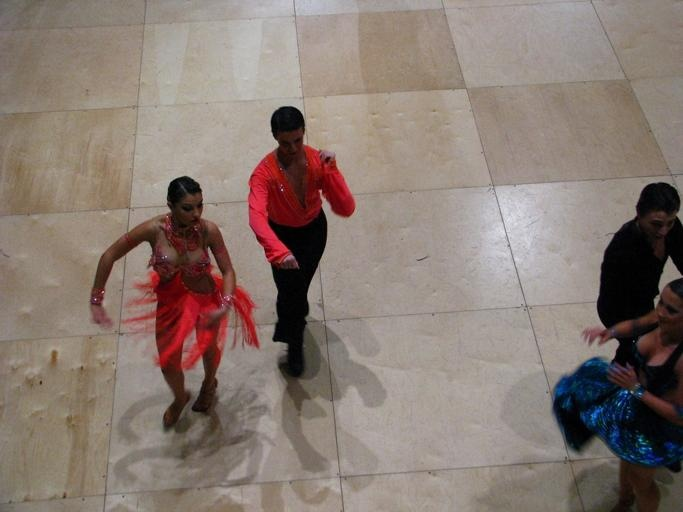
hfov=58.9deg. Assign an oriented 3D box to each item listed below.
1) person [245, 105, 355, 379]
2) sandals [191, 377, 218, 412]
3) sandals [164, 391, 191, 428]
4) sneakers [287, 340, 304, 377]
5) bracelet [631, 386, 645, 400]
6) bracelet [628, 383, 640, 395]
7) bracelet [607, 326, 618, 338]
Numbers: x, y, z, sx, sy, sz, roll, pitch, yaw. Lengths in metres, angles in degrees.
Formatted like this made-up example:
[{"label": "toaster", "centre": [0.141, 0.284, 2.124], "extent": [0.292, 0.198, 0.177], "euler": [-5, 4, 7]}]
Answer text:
[{"label": "person", "centre": [-0.321, -0.103, 4.128], "extent": [0.554, 1.550, 0.975], "euler": [26, 62, 25]}, {"label": "sandals", "centre": [-0.962, 1.005, 4.282], "extent": [0.092, 0.119, 0.310], "euler": [11, 51, 4]}, {"label": "sandals", "centre": [-1.175, 1.043, 4.271], "extent": [0.101, 0.155, 0.342], "euler": [6, 20, 13]}, {"label": "sneakers", "centre": [-0.334, 0.757, 4.415], "extent": [0.088, 0.195, 0.316], "euler": [-2, 84, -7]}, {"label": "bracelet", "centre": [1.703, 0.777, 3.468], "extent": [0.064, 0.070, 0.070], "euler": [-18, 15, 34]}, {"label": "bracelet", "centre": [1.698, 0.762, 3.477], "extent": [0.050, 0.013, 0.060], "euler": [10, 92, 11]}, {"label": "bracelet", "centre": [1.697, 0.479, 3.788], "extent": [0.037, 0.058, 0.052], "euler": [2, 15, -27]}]
